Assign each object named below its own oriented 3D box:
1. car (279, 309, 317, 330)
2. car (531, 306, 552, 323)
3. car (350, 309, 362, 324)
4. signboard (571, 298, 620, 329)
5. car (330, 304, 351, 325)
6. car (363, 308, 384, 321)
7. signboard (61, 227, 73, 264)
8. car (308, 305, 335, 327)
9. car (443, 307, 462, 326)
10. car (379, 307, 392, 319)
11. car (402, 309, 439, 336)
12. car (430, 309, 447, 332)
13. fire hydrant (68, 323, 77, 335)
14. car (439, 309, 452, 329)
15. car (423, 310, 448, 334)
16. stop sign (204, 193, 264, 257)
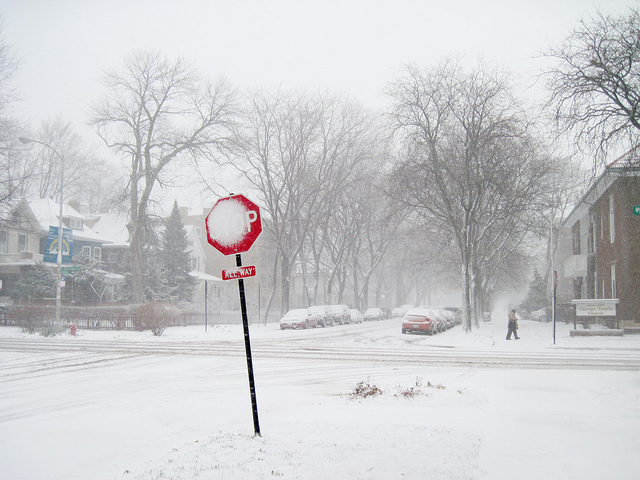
[{"bbox_3d":[-1.490,5.422,46.272,1.646,1.441,3.695,-3,-9,17],"label":"car"},{"bbox_3d":[21.529,7.191,64.495,2.625,1.059,1.223,-6,-2,-8],"label":"car"},{"bbox_3d":[3.255,6.877,60.809,0.681,1.220,2.834,-2,-8,14],"label":"car"},{"bbox_3d":[14.417,3.848,34.982,1.887,1.441,0.268,-1,-18,10],"label":"signboard"},{"bbox_3d":[1.695,6.216,56.041,0.940,0.939,2.041,-4,-17,12],"label":"car"},{"bbox_3d":[5.357,7.533,67.918,1.653,1.303,3.183,-2,-9,14],"label":"car"},{"bbox_3d":[-14.213,0.413,37.845,0.892,2.115,0.031,4,3,32],"label":"signboard"},{"bbox_3d":[0.167,5.667,50.491,0.992,0.986,2.472,-5,-16,14],"label":"car"},{"bbox_3d":[13.681,7.868,67.790,1.726,1.788,4.352,-2,-4,24],"label":"car"},{"bbox_3d":[7.586,8.251,76.142,0.862,0.881,2.467,-3,-20,11],"label":"car"},{"bbox_3d":[5.761,4.776,38.884,1.888,1.547,2.418,-2,-8,7],"label":"car"},{"bbox_3d":[7.683,5.280,43.568,0.932,1.020,2.262,-4,-21,13],"label":"car"},{"bbox_3d":[-13.480,4.886,36.720,0.461,0.699,0.618,7,-14,-36],"label":"fire hydrant"},{"bbox_3d":[9.364,5.929,50.231,0.967,0.921,1.803,-3,-18,16],"label":"car"},{"bbox_3d":[7.545,5.213,43.228,1.135,1.096,2.838,-2,-24,11],"label":"car"},{"bbox_3d":[-1.797,-0.422,13.795,1.242,1.368,0.321,-26,-23,-4],"label":"stop sign"}]
